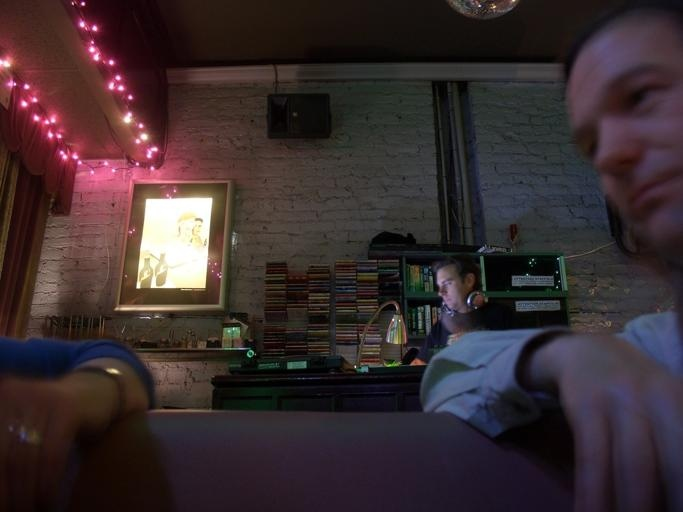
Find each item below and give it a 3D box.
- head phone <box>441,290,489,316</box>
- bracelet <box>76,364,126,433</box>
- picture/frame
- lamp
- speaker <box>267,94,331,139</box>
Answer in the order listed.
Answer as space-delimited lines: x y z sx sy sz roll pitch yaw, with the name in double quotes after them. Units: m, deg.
0.752 0.290 3.124 0.186 0.178 0.066 -5 -48 46 "head phone"
-0.289 0.173 0.609 0.073 0.069 0.017 4 -6 -27 "bracelet"
-1.365 -0.039 4.181 1.081 1.316 0.172 -1 -19 2 "picture/frame"
0.268 0.535 3.494 0.360 0.449 1.097 1 2 8 "lamp"
-0.371 -1.220 4.468 0.643 0.427 0.351 0 0 5 "speaker"
